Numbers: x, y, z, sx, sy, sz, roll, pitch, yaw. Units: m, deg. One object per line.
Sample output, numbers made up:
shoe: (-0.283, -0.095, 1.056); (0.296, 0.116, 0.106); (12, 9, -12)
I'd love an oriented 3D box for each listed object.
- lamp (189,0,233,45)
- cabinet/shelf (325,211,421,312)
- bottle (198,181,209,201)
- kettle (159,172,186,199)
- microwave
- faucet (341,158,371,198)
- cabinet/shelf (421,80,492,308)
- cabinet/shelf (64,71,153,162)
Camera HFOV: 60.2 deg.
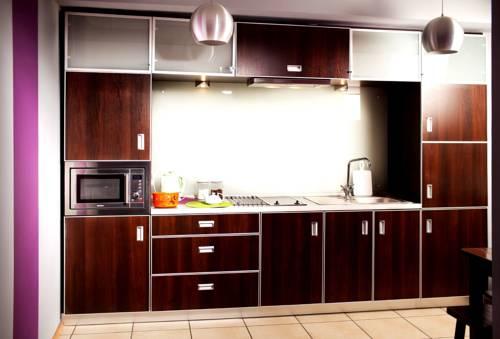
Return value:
lamp: (-0.332, -1.093, 3.453); (0.317, 0.445, 0.321); (-1, 0, -15)
cabinet/shelf: (1.233, 0.897, 4.426); (1.008, 0.896, 0.331); (0, -1, -8)
bottle: (-0.507, 0.235, 4.548); (0.170, 0.249, 0.171); (1, -2, 0)
kettle: (-0.785, 0.163, 4.467); (0.306, 0.314, 0.235); (3, -3, -36)
microwave: (-1.357, 0.196, 4.111); (0.795, 0.522, 0.482); (0, 0, -10)
faucet: (1.233, 0.068, 4.917); (0.357, 0.469, 0.280); (5, 15, 15)
cabinet/shelf: (2.137, 0.216, 4.507); (0.730, 2.155, 0.506); (-1, 14, -6)
cabinet/shelf: (-1.348, -0.503, 4.091); (0.778, 0.799, 0.224); (0, 14, -4)
